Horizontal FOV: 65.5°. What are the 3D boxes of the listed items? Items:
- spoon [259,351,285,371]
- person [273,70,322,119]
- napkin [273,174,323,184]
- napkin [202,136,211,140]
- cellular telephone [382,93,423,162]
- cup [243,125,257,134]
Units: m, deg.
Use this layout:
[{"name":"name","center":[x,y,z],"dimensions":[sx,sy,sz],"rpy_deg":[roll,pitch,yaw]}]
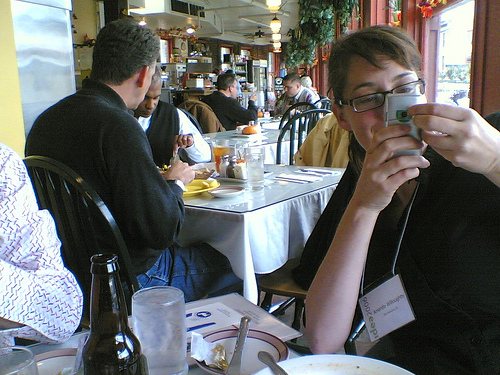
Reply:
[{"name":"spoon","center":[0.037,0.295,0.683],"dimensions":[0.046,0.016,0.018],"rpy_deg":[39,40,23]},{"name":"person","center":[1.011,-1.911,8.242],"dimensions":[0.759,0.957,1.246],"rpy_deg":[-19,30,-29]},{"name":"napkin","center":[0.261,-0.046,2.084],"dimensions":[0.249,0.013,0.153],"rpy_deg":[7,15,34]},{"name":"napkin","center":[-0.399,-0.464,3.681],"dimensions":[0.094,0.021,0.092],"rpy_deg":[0,5,15]},{"name":"cellular telephone","center":[0.339,-0.133,0.861],"dimensions":[0.083,0.147,0.118],"rpy_deg":[3,13,18]},{"name":"cup","center":[0.002,-0.557,3.795],"dimensions":[0.133,0.069,0.081],"rpy_deg":[-2,13,-2]}]
